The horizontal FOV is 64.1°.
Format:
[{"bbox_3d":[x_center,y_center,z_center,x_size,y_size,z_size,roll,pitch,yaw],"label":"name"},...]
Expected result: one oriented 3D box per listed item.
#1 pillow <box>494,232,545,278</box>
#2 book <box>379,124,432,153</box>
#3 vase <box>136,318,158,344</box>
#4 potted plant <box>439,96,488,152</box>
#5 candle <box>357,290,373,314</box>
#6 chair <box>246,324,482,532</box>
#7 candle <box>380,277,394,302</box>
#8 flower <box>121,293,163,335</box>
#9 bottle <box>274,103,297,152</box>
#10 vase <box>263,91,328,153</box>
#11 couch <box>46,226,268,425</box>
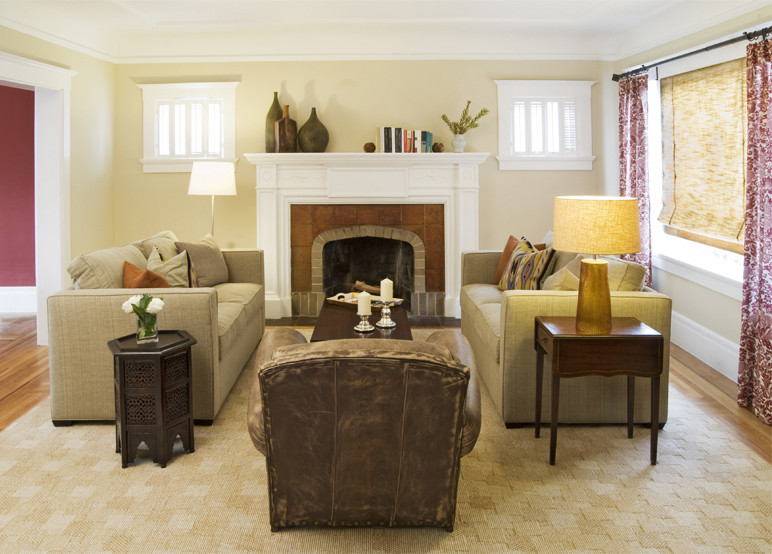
[{"bbox_3d":[1.300,-0.169,5.737,0.139,0.421,0.435,18,9,-15],"label":"pillow"},{"bbox_3d":[0.223,-1.461,6.580,0.562,0.261,0.079,-3,9,-11],"label":"book"},{"bbox_3d":[-1.515,0.326,3.913,0.134,0.247,0.134,-4,11,-26],"label":"vase"},{"bbox_3d":[0.840,-1.658,6.817,0.543,0.542,0.559,3,9,7],"label":"potted plant"},{"bbox_3d":[-0.156,0.204,4.574,0.077,0.161,0.155,-1,8,5],"label":"candle"},{"bbox_3d":[-0.101,0.733,3.544,0.949,0.698,1.058,1,10,0],"label":"chair"},{"bbox_3d":[0.009,0.106,4.662,0.097,0.179,0.170,-2,8,0],"label":"candle"},{"bbox_3d":[-1.494,0.218,3.877,0.247,0.263,0.258,1,8,-1],"label":"flower"},{"bbox_3d":[-1.084,-1.580,6.637,0.233,0.505,0.240,-2,8,0],"label":"bottle"},{"bbox_3d":[-0.991,-1.620,6.598,0.744,0.752,0.513,-2,9,-13],"label":"vase"},{"bbox_3d":[-1.683,0.475,5.231,0.988,1.020,2.219,-24,9,-3],"label":"couch"}]
